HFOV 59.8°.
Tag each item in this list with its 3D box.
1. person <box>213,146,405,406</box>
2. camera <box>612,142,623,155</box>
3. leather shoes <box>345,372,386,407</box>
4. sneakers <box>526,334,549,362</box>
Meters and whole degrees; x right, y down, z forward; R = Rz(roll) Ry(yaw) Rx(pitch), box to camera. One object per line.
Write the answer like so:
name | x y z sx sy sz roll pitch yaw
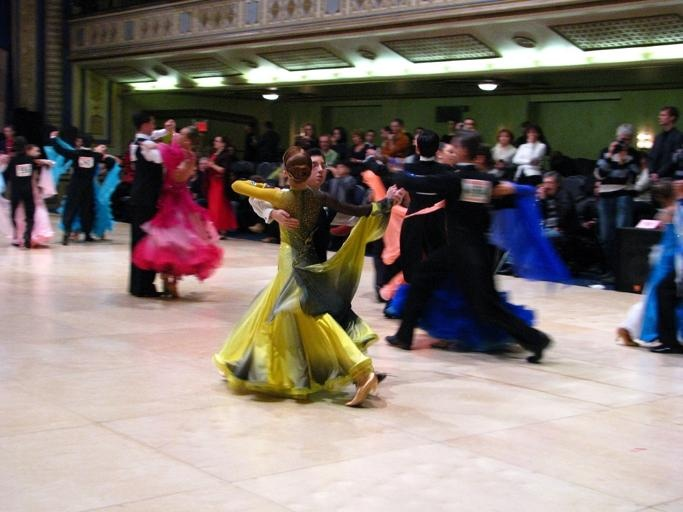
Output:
person | -0.251 0.125 3.916 1.092 1.651 0.680 5 10 1
camera | 4.207 -1.649 9.068 0.173 0.140 0.087 9 14 28
leather shoes | 0.150 0.870 3.848 0.331 0.101 0.136 -34 41 -17
sneakers | 1.672 0.765 4.973 0.234 0.257 0.121 -5 14 -44
